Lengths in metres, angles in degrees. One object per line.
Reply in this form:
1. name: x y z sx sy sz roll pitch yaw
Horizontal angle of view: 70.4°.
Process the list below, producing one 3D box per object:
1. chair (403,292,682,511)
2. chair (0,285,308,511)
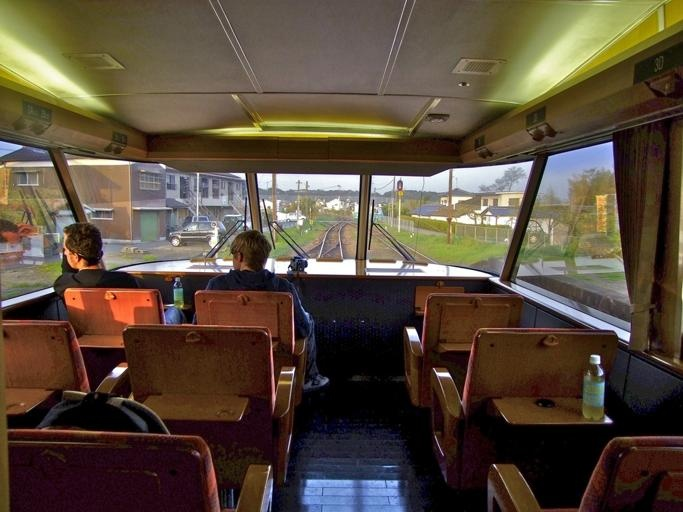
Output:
1. chair: 1.168 0.890 3.377 0.961 0.902 1.615 1 0 4
2. chair: -1.037 0.707 3.095 1.541 1.300 1.150 1 5 -1
